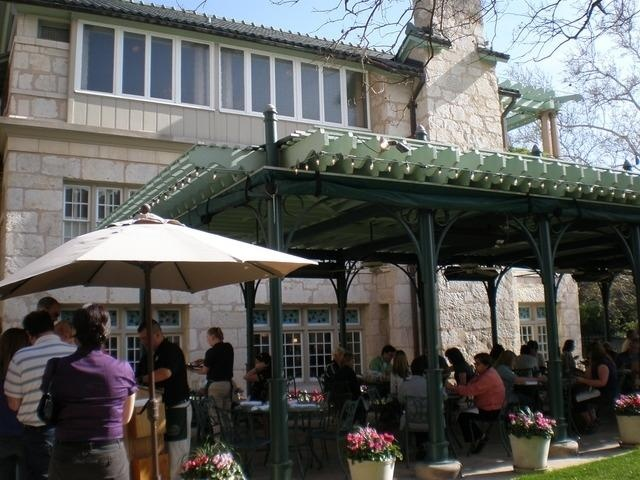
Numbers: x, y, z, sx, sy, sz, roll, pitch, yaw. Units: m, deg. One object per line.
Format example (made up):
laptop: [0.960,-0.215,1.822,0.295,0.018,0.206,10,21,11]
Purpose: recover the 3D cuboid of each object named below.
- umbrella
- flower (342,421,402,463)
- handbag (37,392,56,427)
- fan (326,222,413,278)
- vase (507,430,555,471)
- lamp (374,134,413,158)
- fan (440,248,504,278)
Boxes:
umbrella: [-2.487,1.437,10.703,4.007,3.633,4.013,-2,-14,-4]
flower: [0.753,2.881,10.048,0.606,0.349,0.585,6,-5,-31]
handbag: [-2.852,1.669,7.371,0.119,0.277,0.271,-3,34,-34]
fan: [1.492,0.364,16.426,1.516,0.632,1.508,13,-30,-30]
vase: [3.225,3.251,10.972,0.522,0.423,0.547,0,-21,3]
lamp: [1.120,-1.404,10.627,0.585,0.332,0.215,11,1,12]
fan: [3.840,0.687,18.017,1.535,0.574,2.346,-5,-10,9]
